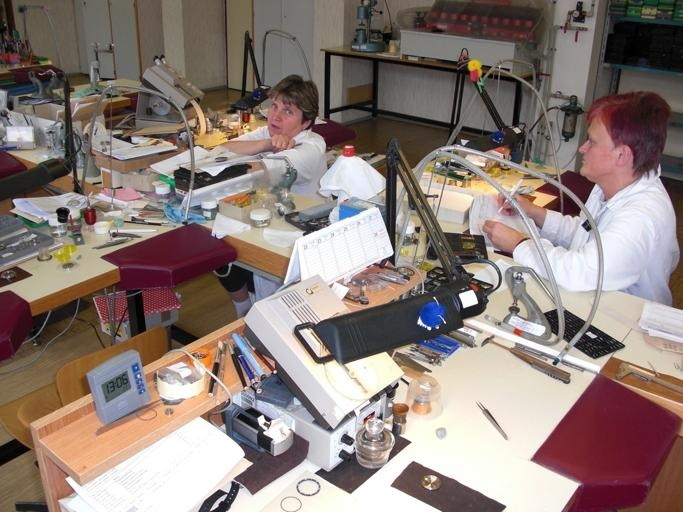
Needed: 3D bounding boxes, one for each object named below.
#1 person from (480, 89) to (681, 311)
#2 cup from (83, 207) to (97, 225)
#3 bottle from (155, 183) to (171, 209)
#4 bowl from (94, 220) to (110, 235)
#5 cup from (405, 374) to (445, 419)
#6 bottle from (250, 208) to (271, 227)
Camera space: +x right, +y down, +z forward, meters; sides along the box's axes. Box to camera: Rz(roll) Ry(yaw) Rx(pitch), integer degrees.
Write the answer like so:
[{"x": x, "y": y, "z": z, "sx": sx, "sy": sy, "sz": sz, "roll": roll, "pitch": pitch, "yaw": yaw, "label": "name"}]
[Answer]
[{"x": 1.229, "y": -0.283, "z": 2.382, "sx": 0.874, "sy": 0.989, "sz": 0.753, "roll": -12, "pitch": 29, "yaw": -23, "label": "person"}, {"x": -1.276, "y": -0.200, "z": 2.422, "sx": 0.062, "sy": 0.089, "sz": 0.064, "roll": 1, "pitch": 28, "yaw": -1, "label": "cup"}, {"x": -0.970, "y": -0.329, "z": 2.604, "sx": 0.086, "sy": 0.135, "sz": 0.086, "roll": 7, "pitch": 34, "yaw": -4, "label": "bottle"}, {"x": -1.178, "y": -0.150, "z": 2.356, "sx": 0.056, "sy": 0.043, "sz": 0.075, "roll": 15, "pitch": 30, "yaw": 13, "label": "bowl"}, {"x": 0.281, "y": 0.454, "z": 1.557, "sx": 0.107, "sy": 0.077, "sz": 0.109, "roll": -2, "pitch": 33, "yaw": 1, "label": "cup"}, {"x": -0.413, "y": -0.208, "z": 2.446, "sx": 0.090, "sy": 0.055, "sz": 0.091, "roll": 1, "pitch": 38, "yaw": -1, "label": "bottle"}]
